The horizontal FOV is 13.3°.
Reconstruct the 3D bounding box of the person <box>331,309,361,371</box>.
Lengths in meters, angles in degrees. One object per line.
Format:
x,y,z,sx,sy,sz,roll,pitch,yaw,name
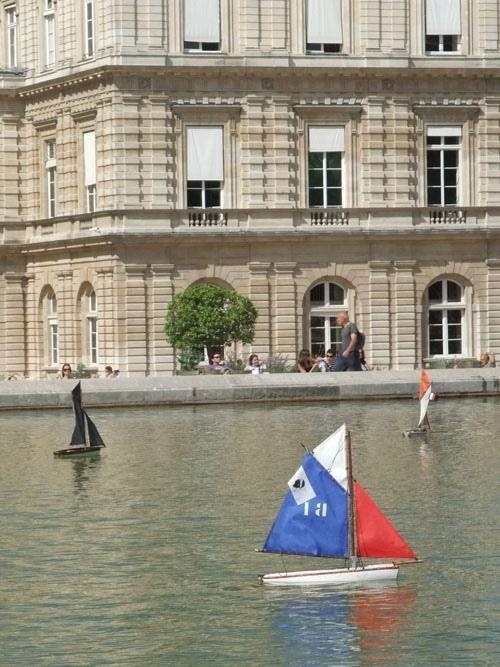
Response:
1.730,0.295,38.729,0.509,1.366,0.532,1,9,6,person
